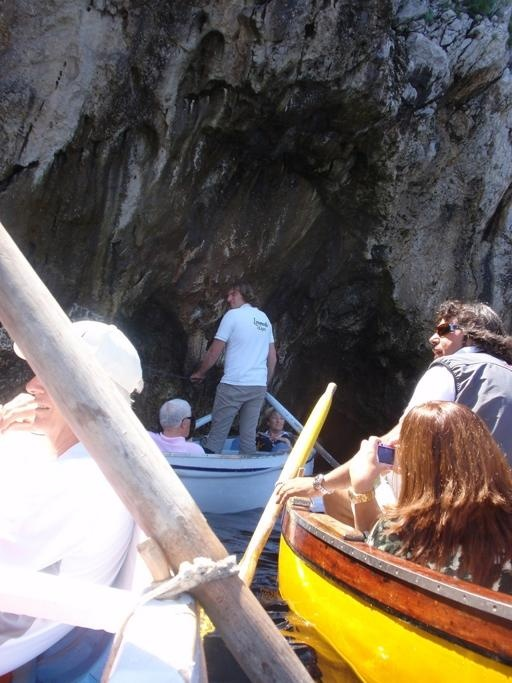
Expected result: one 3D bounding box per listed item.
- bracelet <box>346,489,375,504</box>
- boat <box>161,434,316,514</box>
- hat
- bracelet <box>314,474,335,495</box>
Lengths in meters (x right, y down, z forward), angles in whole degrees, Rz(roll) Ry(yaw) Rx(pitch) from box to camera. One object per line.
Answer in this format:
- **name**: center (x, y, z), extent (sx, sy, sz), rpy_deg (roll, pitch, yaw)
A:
- **bracelet**: center (0.360, 0.542, 2.494), extent (0.066, 0.064, 0.060), rpy_deg (5, -17, -5)
- **boat**: center (-0.152, 0.984, 5.081), extent (0.401, 0.322, 1.123), rpy_deg (-5, -16, 33)
- **hat**: center (-0.436, 0.044, 1.889), extent (0.287, 0.149, 0.203), rpy_deg (43, 1, -10)
- **bracelet**: center (0.270, 0.595, 2.962), extent (0.068, 0.099, 0.101), rpy_deg (-12, -36, 7)
